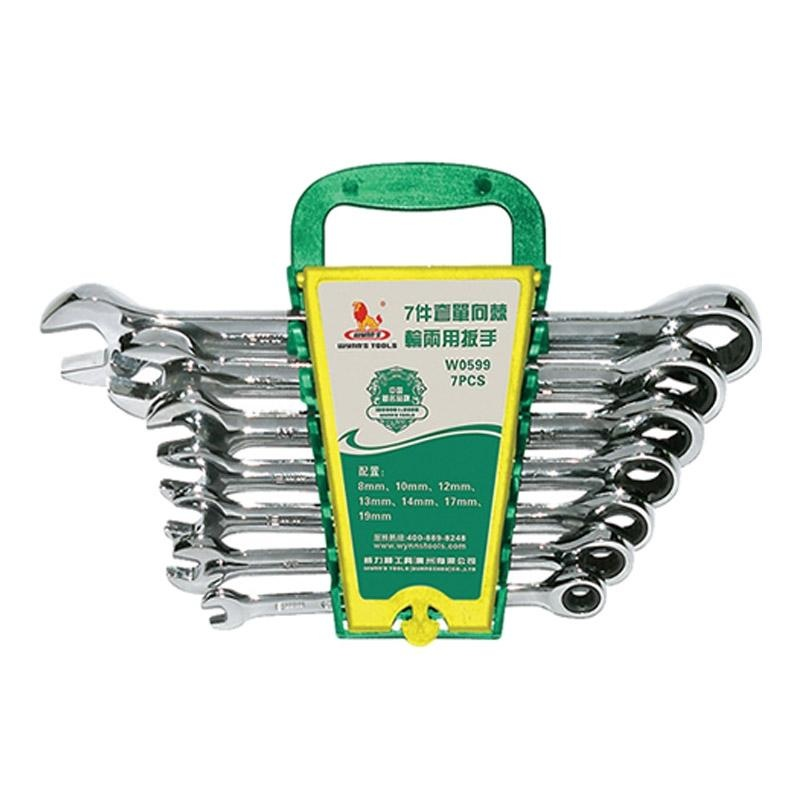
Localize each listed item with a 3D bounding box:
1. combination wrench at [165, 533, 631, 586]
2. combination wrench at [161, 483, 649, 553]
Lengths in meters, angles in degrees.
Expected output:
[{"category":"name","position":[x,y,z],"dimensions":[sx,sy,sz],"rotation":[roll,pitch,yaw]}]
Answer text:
[{"category":"combination wrench","position":[-0.033,0.385,2.713],"dimensions":[1.116,0.141,0.092],"rotation":[-1,-71,8]},{"category":"combination wrench","position":[0.042,0.274,2.681],"dimensions":[1.190,0.167,0.096],"rotation":[1,-78,-5]}]
